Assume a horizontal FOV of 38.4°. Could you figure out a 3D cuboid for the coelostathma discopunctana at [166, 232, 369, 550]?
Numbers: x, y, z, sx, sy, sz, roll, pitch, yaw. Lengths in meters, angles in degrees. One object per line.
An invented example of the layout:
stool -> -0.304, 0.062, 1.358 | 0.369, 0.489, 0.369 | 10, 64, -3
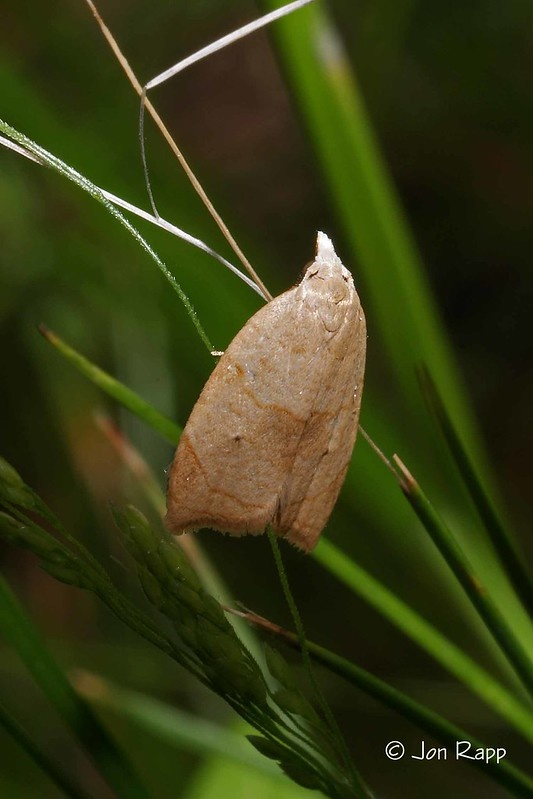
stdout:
coelostathma discopunctana -> 0.013, -0.004, 0.508 | 0.109, 0.198, 0.112 | 17, -20, -3
